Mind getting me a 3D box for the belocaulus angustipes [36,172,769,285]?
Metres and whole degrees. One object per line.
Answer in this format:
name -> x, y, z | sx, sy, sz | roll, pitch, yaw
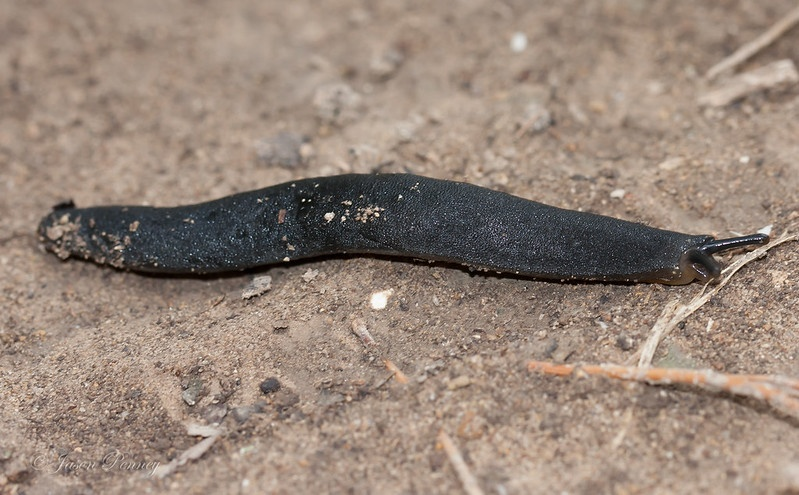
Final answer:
belocaulus angustipes -> -0.135, -0.177, 6.605 | 5.502, 1.069, 0.636 | 2, -67, 3
